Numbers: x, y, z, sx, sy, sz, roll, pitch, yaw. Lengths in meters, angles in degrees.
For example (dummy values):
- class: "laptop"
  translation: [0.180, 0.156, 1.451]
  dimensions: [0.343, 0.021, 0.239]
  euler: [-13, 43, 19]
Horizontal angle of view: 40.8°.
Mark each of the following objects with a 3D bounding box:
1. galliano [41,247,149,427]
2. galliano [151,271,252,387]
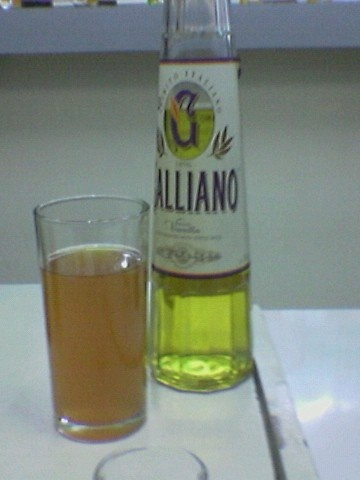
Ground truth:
- class: "galliano"
  translation: [-0.046, 0.052, 0.264]
  dimensions: [0.051, 0.096, 0.029]
  euler: [0, 12, -13]
- class: "galliano"
  translation: [0.022, 0.061, 0.371]
  dimensions: [0.092, 0.104, 0.075]
  euler: [0, 0, -1]
